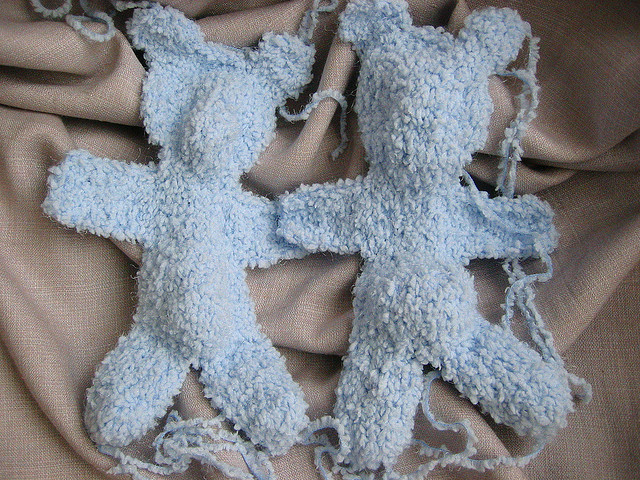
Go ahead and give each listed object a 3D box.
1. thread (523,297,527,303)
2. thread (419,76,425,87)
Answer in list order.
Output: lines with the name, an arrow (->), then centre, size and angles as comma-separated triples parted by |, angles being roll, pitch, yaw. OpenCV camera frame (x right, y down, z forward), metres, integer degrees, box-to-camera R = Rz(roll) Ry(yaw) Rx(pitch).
thread -> 0.342, 0.099, 1.336 | 0.002, 0.002, 0.009 | 16, 90, -5
thread -> 0.163, -0.257, 1.277 | 0.012, 0.003, 0.013 | 1, 76, -3
